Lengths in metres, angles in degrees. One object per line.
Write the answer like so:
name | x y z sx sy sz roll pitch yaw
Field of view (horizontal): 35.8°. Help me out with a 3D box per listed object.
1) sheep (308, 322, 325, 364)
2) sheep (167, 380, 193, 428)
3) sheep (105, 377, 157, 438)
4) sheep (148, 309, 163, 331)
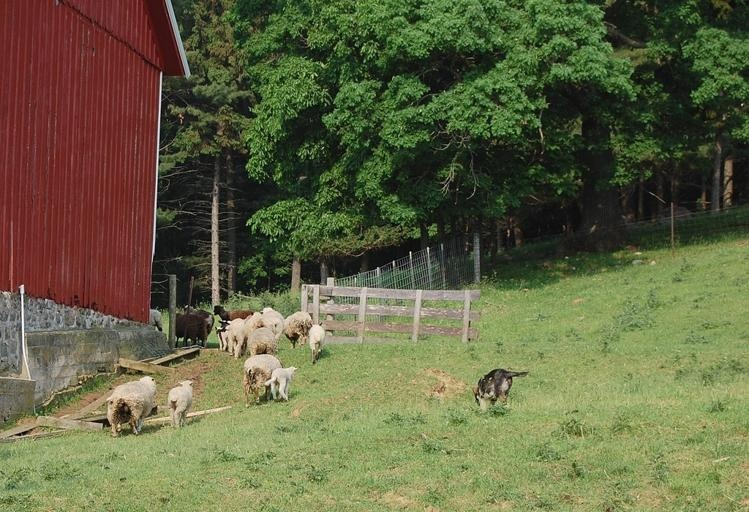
sheep | -1.978 2.979 39.584 0.504 1.243 1.453 -4 -3 -4
sheep | -5.773 4.416 34.543 0.898 1.303 0.787 -2 -3 -40
sheep | -7.104 4.494 34.429 1.129 1.661 2.565 -4 -3 10
sheep | -8.019 2.333 42.529 0.356 0.757 1.071 -4 -3 -6
